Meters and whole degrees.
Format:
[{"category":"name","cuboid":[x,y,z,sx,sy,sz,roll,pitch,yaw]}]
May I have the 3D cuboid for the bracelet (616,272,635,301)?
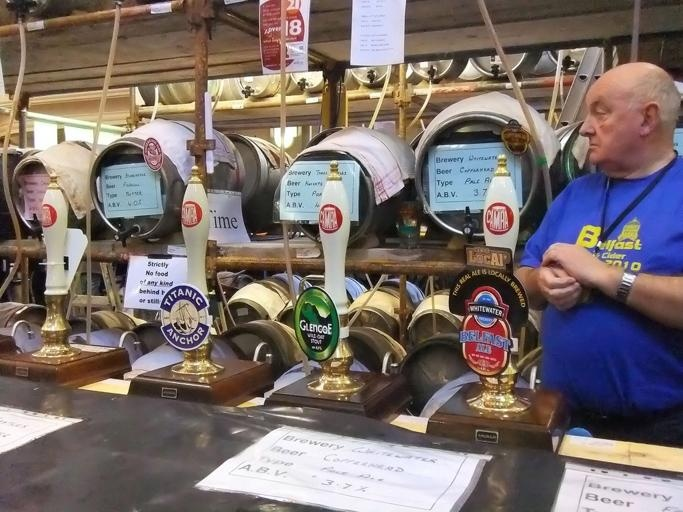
[{"category":"bracelet","cuboid":[0.727,0.079,1.343,0.042,0.071,0.072,9,22,26]}]
